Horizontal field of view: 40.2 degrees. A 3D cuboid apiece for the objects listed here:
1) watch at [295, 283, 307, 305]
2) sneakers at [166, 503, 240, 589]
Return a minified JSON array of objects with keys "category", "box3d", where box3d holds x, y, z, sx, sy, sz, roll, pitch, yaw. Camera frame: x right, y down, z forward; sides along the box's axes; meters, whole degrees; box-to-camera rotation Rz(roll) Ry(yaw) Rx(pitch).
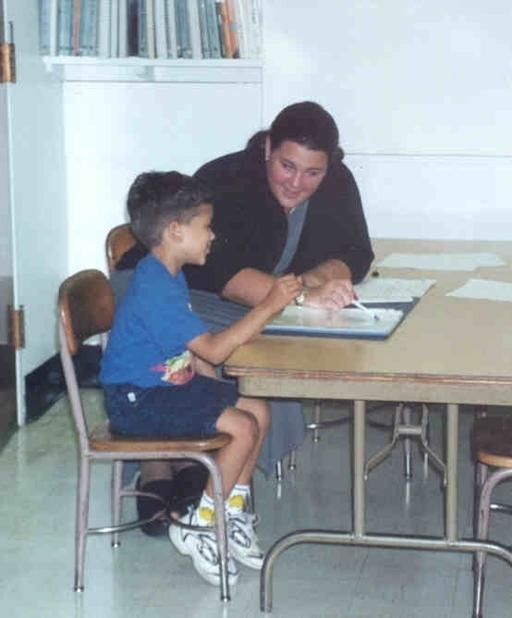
[{"category":"watch","box3d":[0.104,-0.035,1.599,0.017,0.043,0.030,12,10,-37]},{"category":"sneakers","box3d":[-0.115,0.544,1.595,0.068,0.204,0.146,-36,-14,-35]}]
